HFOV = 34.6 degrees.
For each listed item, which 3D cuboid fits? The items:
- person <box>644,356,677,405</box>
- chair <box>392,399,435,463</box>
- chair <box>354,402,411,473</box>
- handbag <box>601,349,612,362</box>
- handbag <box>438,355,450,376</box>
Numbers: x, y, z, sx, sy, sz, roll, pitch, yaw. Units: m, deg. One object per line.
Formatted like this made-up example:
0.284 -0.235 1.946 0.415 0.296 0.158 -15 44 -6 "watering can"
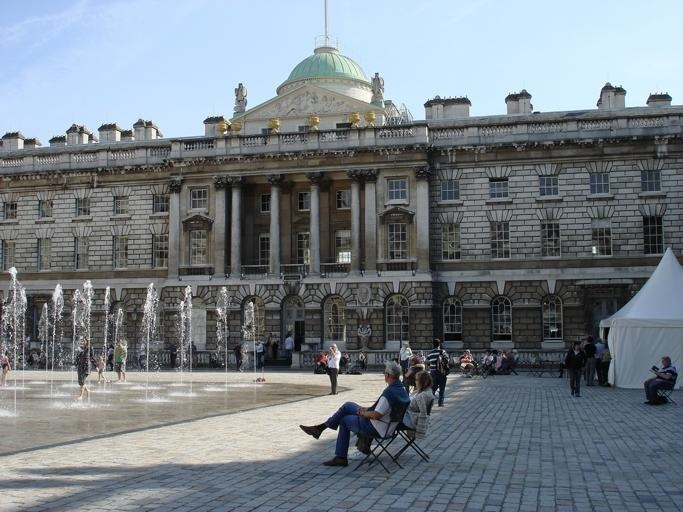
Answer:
11.993 4.699 41.095 1.263 1.938 0.988 6 -22 8 "person"
1.964 4.825 31.068 1.377 1.842 1.375 0 -5 1 "chair"
0.912 5.119 31.347 1.952 2.399 1.571 1 -10 8 "chair"
11.524 4.340 47.553 0.353 0.410 0.444 -5 -18 27 "handbag"
3.734 3.968 39.870 0.242 0.750 0.806 -3 -6 17 "handbag"
